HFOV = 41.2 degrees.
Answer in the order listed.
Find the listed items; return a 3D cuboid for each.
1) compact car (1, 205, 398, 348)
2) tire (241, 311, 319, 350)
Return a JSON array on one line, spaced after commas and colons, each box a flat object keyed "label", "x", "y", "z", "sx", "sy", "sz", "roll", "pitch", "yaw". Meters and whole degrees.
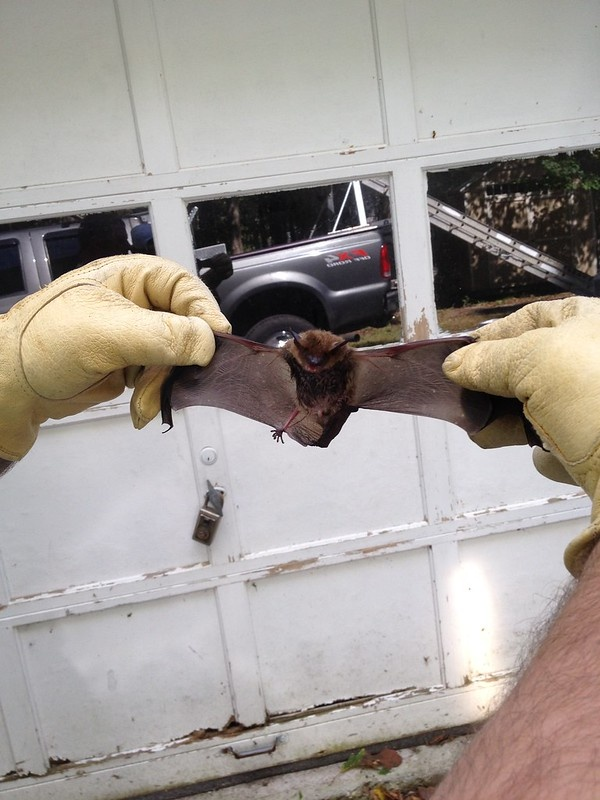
[{"label": "compact car", "x": -0.408, "y": -0.619, "z": 4.020, "sx": 1.491, "sy": 0.530, "sz": 0.765, "roll": -2, "pitch": 5, "yaw": -6}, {"label": "tire", "x": -0.108, "y": -0.341, "z": 3.853, "sx": 0.270, "sy": 0.059, "sz": 0.264, "roll": 3, "pitch": -4, "yaw": -43}]
